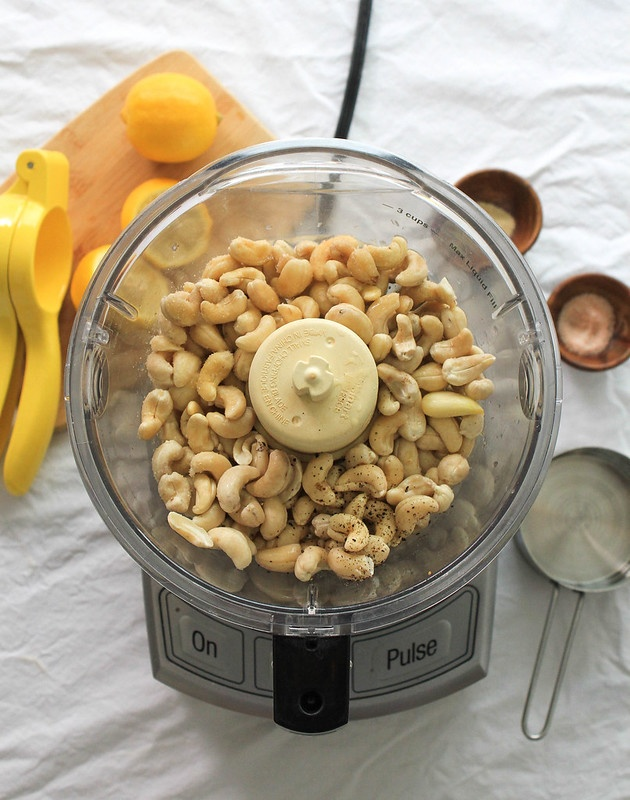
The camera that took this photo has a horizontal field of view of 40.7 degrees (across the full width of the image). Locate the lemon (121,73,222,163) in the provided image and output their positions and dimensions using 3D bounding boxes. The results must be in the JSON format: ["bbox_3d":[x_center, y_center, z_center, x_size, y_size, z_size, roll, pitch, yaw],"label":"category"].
[{"bbox_3d":[-0.168,-0.331,0.990,0.129,0.088,0.087,-8,49,-14],"label":"lemon"}]

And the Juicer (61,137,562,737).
[{"bbox_3d":[0.004,0.018,0.956,0.594,0.252,0.578,1,85,1],"label":"Juicer"}]

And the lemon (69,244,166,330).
[{"bbox_3d":[-0.219,-0.115,0.943,0.140,0.088,0.112,-2,94,-11],"label":"lemon"}]
